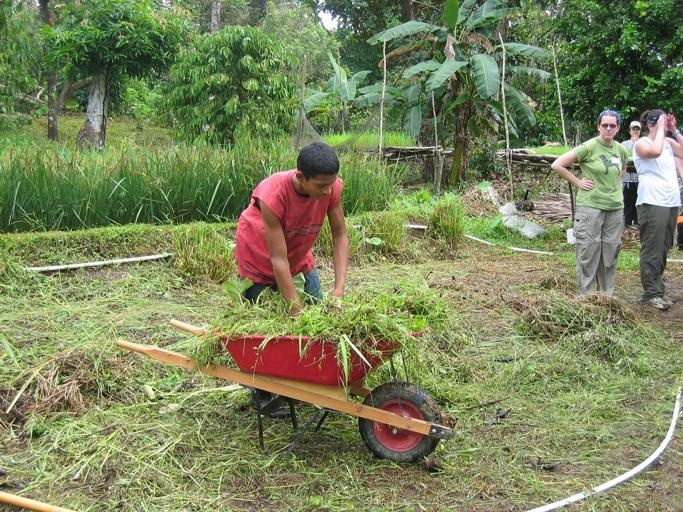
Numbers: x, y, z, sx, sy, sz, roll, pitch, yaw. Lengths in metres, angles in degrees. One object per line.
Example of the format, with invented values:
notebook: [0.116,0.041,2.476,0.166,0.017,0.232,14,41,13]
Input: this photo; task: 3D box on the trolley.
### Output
trolley: [-0.421,0.755,4.665,2.455,0.879,0.854,5,15,16]

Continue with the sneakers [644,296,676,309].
sneakers: [3.322,0.495,6.946,0.105,0.127,0.305,-6,1,-20]

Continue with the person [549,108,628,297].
person: [2.532,-0.533,6.697,0.722,1.864,0.549,5,7,8]
